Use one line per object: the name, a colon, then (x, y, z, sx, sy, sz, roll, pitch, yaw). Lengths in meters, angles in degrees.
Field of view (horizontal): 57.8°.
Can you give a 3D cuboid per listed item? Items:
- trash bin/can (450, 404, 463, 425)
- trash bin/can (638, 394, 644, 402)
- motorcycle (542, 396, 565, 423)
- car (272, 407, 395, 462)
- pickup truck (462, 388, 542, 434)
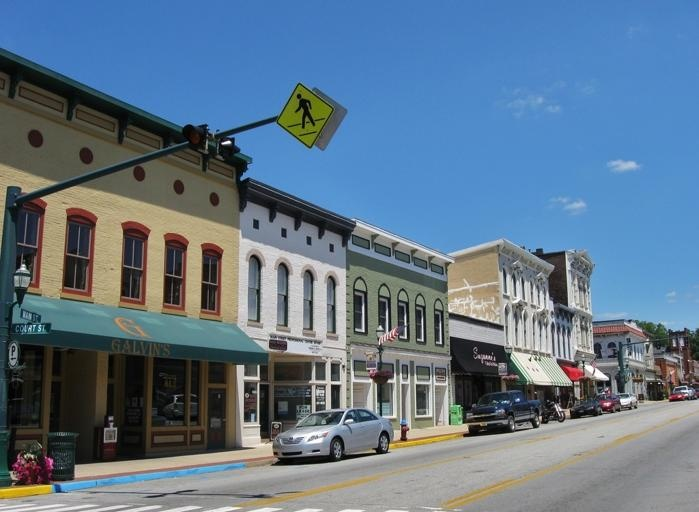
trash bin/can: (6.475, 9.606, 38.390, 0.656, 1.151, 1.253, -4, -8, 18)
trash bin/can: (42.106, 20.398, 91.181, 1.272, 1.279, 0.673, 6, -10, -43)
motorcycle: (13.392, 10.234, 41.609, 1.277, 1.502, 2.136, -10, -19, 17)
car: (-0.412, 6.426, 22.909, 2.195, 1.806, 5.411, -14, -18, 32)
pickup truck: (8.496, 8.409, 34.131, 2.419, 2.130, 5.698, -15, -17, 35)
